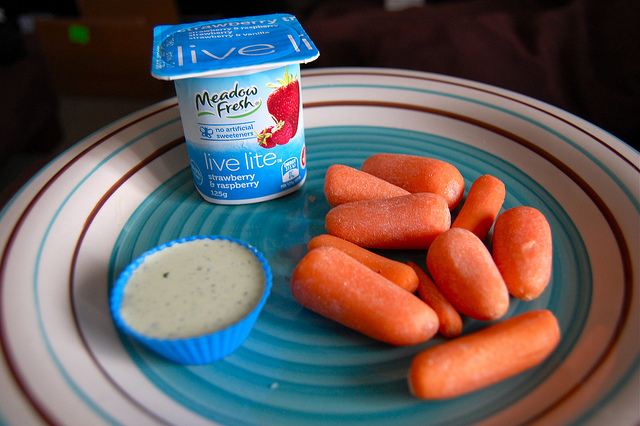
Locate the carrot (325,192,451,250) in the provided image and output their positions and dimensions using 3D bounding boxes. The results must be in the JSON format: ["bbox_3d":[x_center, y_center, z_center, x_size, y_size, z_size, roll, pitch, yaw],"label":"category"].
[{"bbox_3d":[0.171,0.015,1.271,0.286,0.124,0.134,-1,8,9],"label":"carrot"}]

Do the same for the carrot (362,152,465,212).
[{"bbox_3d":[0.238,-0.099,1.386,0.272,0.126,0.130,19,29,21],"label":"carrot"}]

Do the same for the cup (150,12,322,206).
[{"bbox_3d":[-0.204,-0.302,1.372,0.402,0.368,0.495,-18,66,-10],"label":"cup"}]

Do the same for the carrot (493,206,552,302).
[{"bbox_3d":[0.473,0.083,1.183,0.138,0.128,0.248,3,59,16],"label":"carrot"}]

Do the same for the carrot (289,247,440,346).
[{"bbox_3d":[0.089,0.180,1.156,0.327,0.156,0.133,30,26,8],"label":"carrot"}]

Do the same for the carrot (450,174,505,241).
[{"bbox_3d":[0.409,-0.019,1.265,0.090,0.080,0.222,15,52,26],"label":"carrot"}]

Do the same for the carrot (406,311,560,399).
[{"bbox_3d":[0.334,0.292,1.067,0.369,0.130,0.112,-22,37,1],"label":"carrot"}]

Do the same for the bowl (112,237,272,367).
[{"bbox_3d":[-0.266,0.200,1.170,0.328,0.121,0.340,4,37,-3],"label":"bowl"}]

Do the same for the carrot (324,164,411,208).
[{"bbox_3d":[0.126,-0.061,1.353,0.219,0.096,0.088,11,50,6],"label":"carrot"}]
